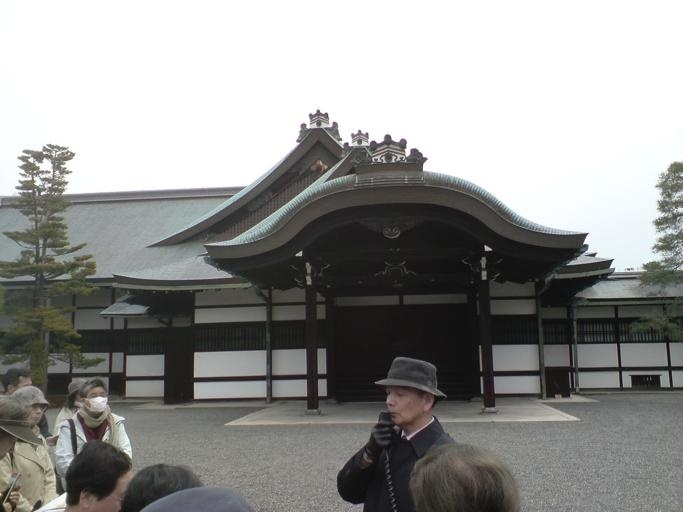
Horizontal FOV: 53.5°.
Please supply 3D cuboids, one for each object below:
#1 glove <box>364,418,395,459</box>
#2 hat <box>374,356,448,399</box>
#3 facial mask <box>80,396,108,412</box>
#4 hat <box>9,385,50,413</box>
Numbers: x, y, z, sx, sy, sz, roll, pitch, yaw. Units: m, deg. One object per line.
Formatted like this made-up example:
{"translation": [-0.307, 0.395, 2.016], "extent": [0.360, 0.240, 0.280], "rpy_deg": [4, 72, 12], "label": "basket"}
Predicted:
{"translation": [0.356, 1.655, 6.078], "extent": [0.301, 0.382, 0.193], "rpy_deg": [-2, -3, 1], "label": "glove"}
{"translation": [0.655, 1.082, 6.397], "extent": [0.605, 0.275, 0.585], "rpy_deg": [-7, -13, -15], "label": "hat"}
{"translation": [-2.721, 1.632, 7.507], "extent": [0.191, 0.127, 0.227], "rpy_deg": [6, -15, -34], "label": "facial mask"}
{"translation": [-3.441, 1.575, 7.480], "extent": [0.432, 0.230, 0.274], "rpy_deg": [7, -17, -13], "label": "hat"}
